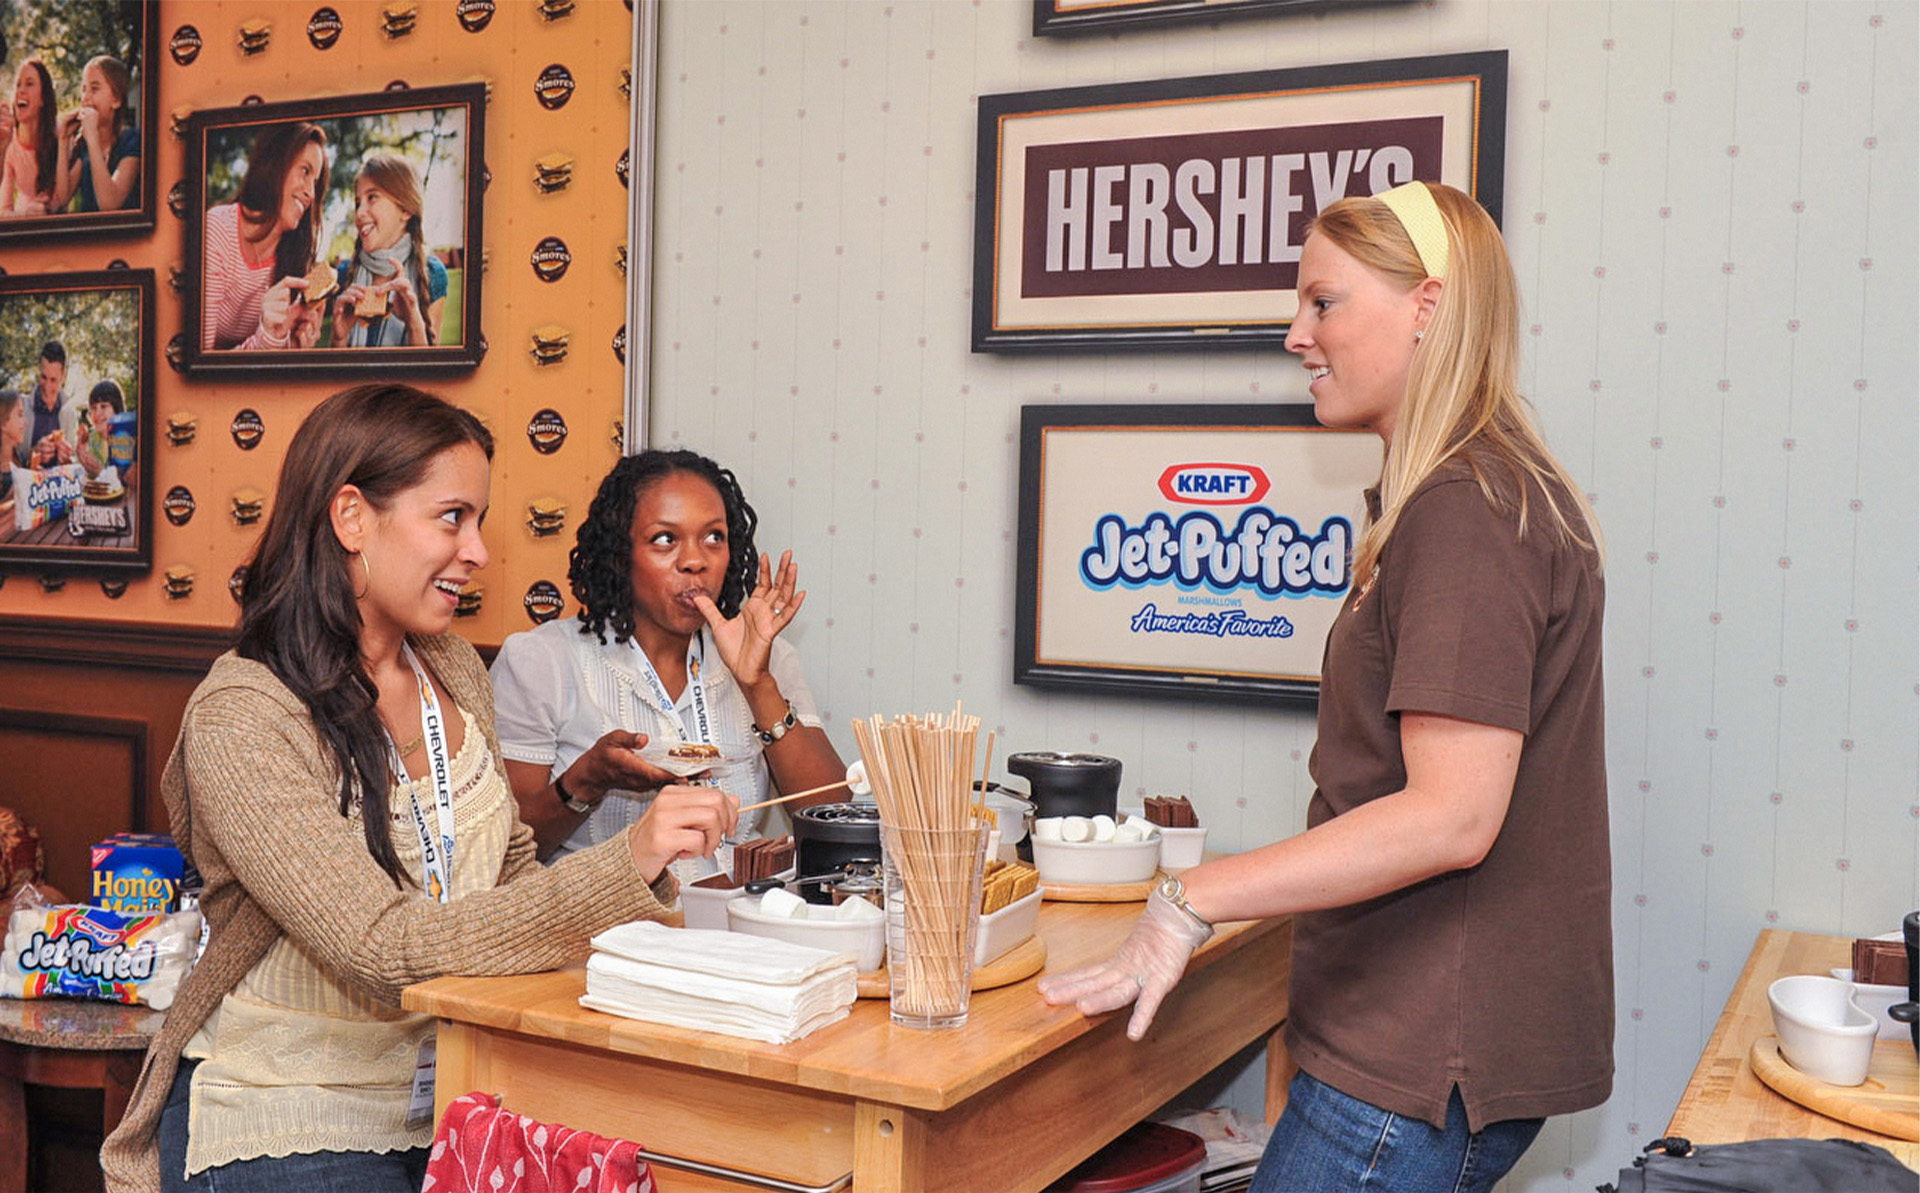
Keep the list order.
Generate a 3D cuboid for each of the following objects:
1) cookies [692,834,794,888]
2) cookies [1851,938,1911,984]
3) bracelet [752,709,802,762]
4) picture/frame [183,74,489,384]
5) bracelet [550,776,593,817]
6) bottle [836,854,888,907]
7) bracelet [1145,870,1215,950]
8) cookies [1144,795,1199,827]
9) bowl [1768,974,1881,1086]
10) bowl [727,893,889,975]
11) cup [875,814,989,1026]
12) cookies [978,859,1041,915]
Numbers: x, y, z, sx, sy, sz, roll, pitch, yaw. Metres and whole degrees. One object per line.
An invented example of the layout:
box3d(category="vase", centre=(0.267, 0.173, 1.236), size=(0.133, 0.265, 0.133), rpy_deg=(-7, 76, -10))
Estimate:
box3d(category="cookies", centre=(-0.417, 0.514, 2.928), size=(0.132, 0.074, 0.176), rpy_deg=(0, 0, 27))
box3d(category="cookies", centre=(1.708, 0.682, 2.839), size=(0.078, 0.078, 0.028), rpy_deg=(8, -11, 6))
box3d(category="bracelet", centre=(-0.429, 0.317, 3.577), size=(0.112, 0.077, 0.121), rpy_deg=(-36, -2, 0))
box3d(category="picture/frame", centre=(-1.733, -1.039, 4.304), size=(0.980, 0.801, 0.049), rpy_deg=(1, 2, 19))
box3d(category="bracelet", centre=(-0.889, 0.466, 3.469), size=(0.033, 0.088, 0.091), rpy_deg=(-37, -19, -14))
box3d(category="bottle", centre=(-0.168, 0.511, 2.776), size=(0.101, 0.095, 0.105), rpy_deg=(-1, -4, 43))
box3d(category="bracelet", centre=(0.347, 0.500, 2.405), size=(0.117, 0.065, 0.089), rpy_deg=(40, 6, -15))
box3d(category="cookies", centre=(0.470, 0.483, 3.405), size=(0.092, 0.033, 0.093), rpy_deg=(0, -1, 0))
box3d(category="bowl", centre=(1.475, 0.746, 2.614), size=(0.182, 0.097, 0.269), rpy_deg=(-3, 5, -4))
box3d(category="bowl", centre=(-0.273, 0.569, 2.629), size=(0.214, 0.068, 0.145), rpy_deg=(2, 1, 8))
box3d(category="cup", centre=(-0.049, 0.531, 2.480), size=(0.156, 0.354, 0.084), rpy_deg=(2, 3, -2))
box3d(category="cookies", centre=(0.083, 0.530, 2.734), size=(0.032, 0.061, 0.084), rpy_deg=(14, 17, 40))
